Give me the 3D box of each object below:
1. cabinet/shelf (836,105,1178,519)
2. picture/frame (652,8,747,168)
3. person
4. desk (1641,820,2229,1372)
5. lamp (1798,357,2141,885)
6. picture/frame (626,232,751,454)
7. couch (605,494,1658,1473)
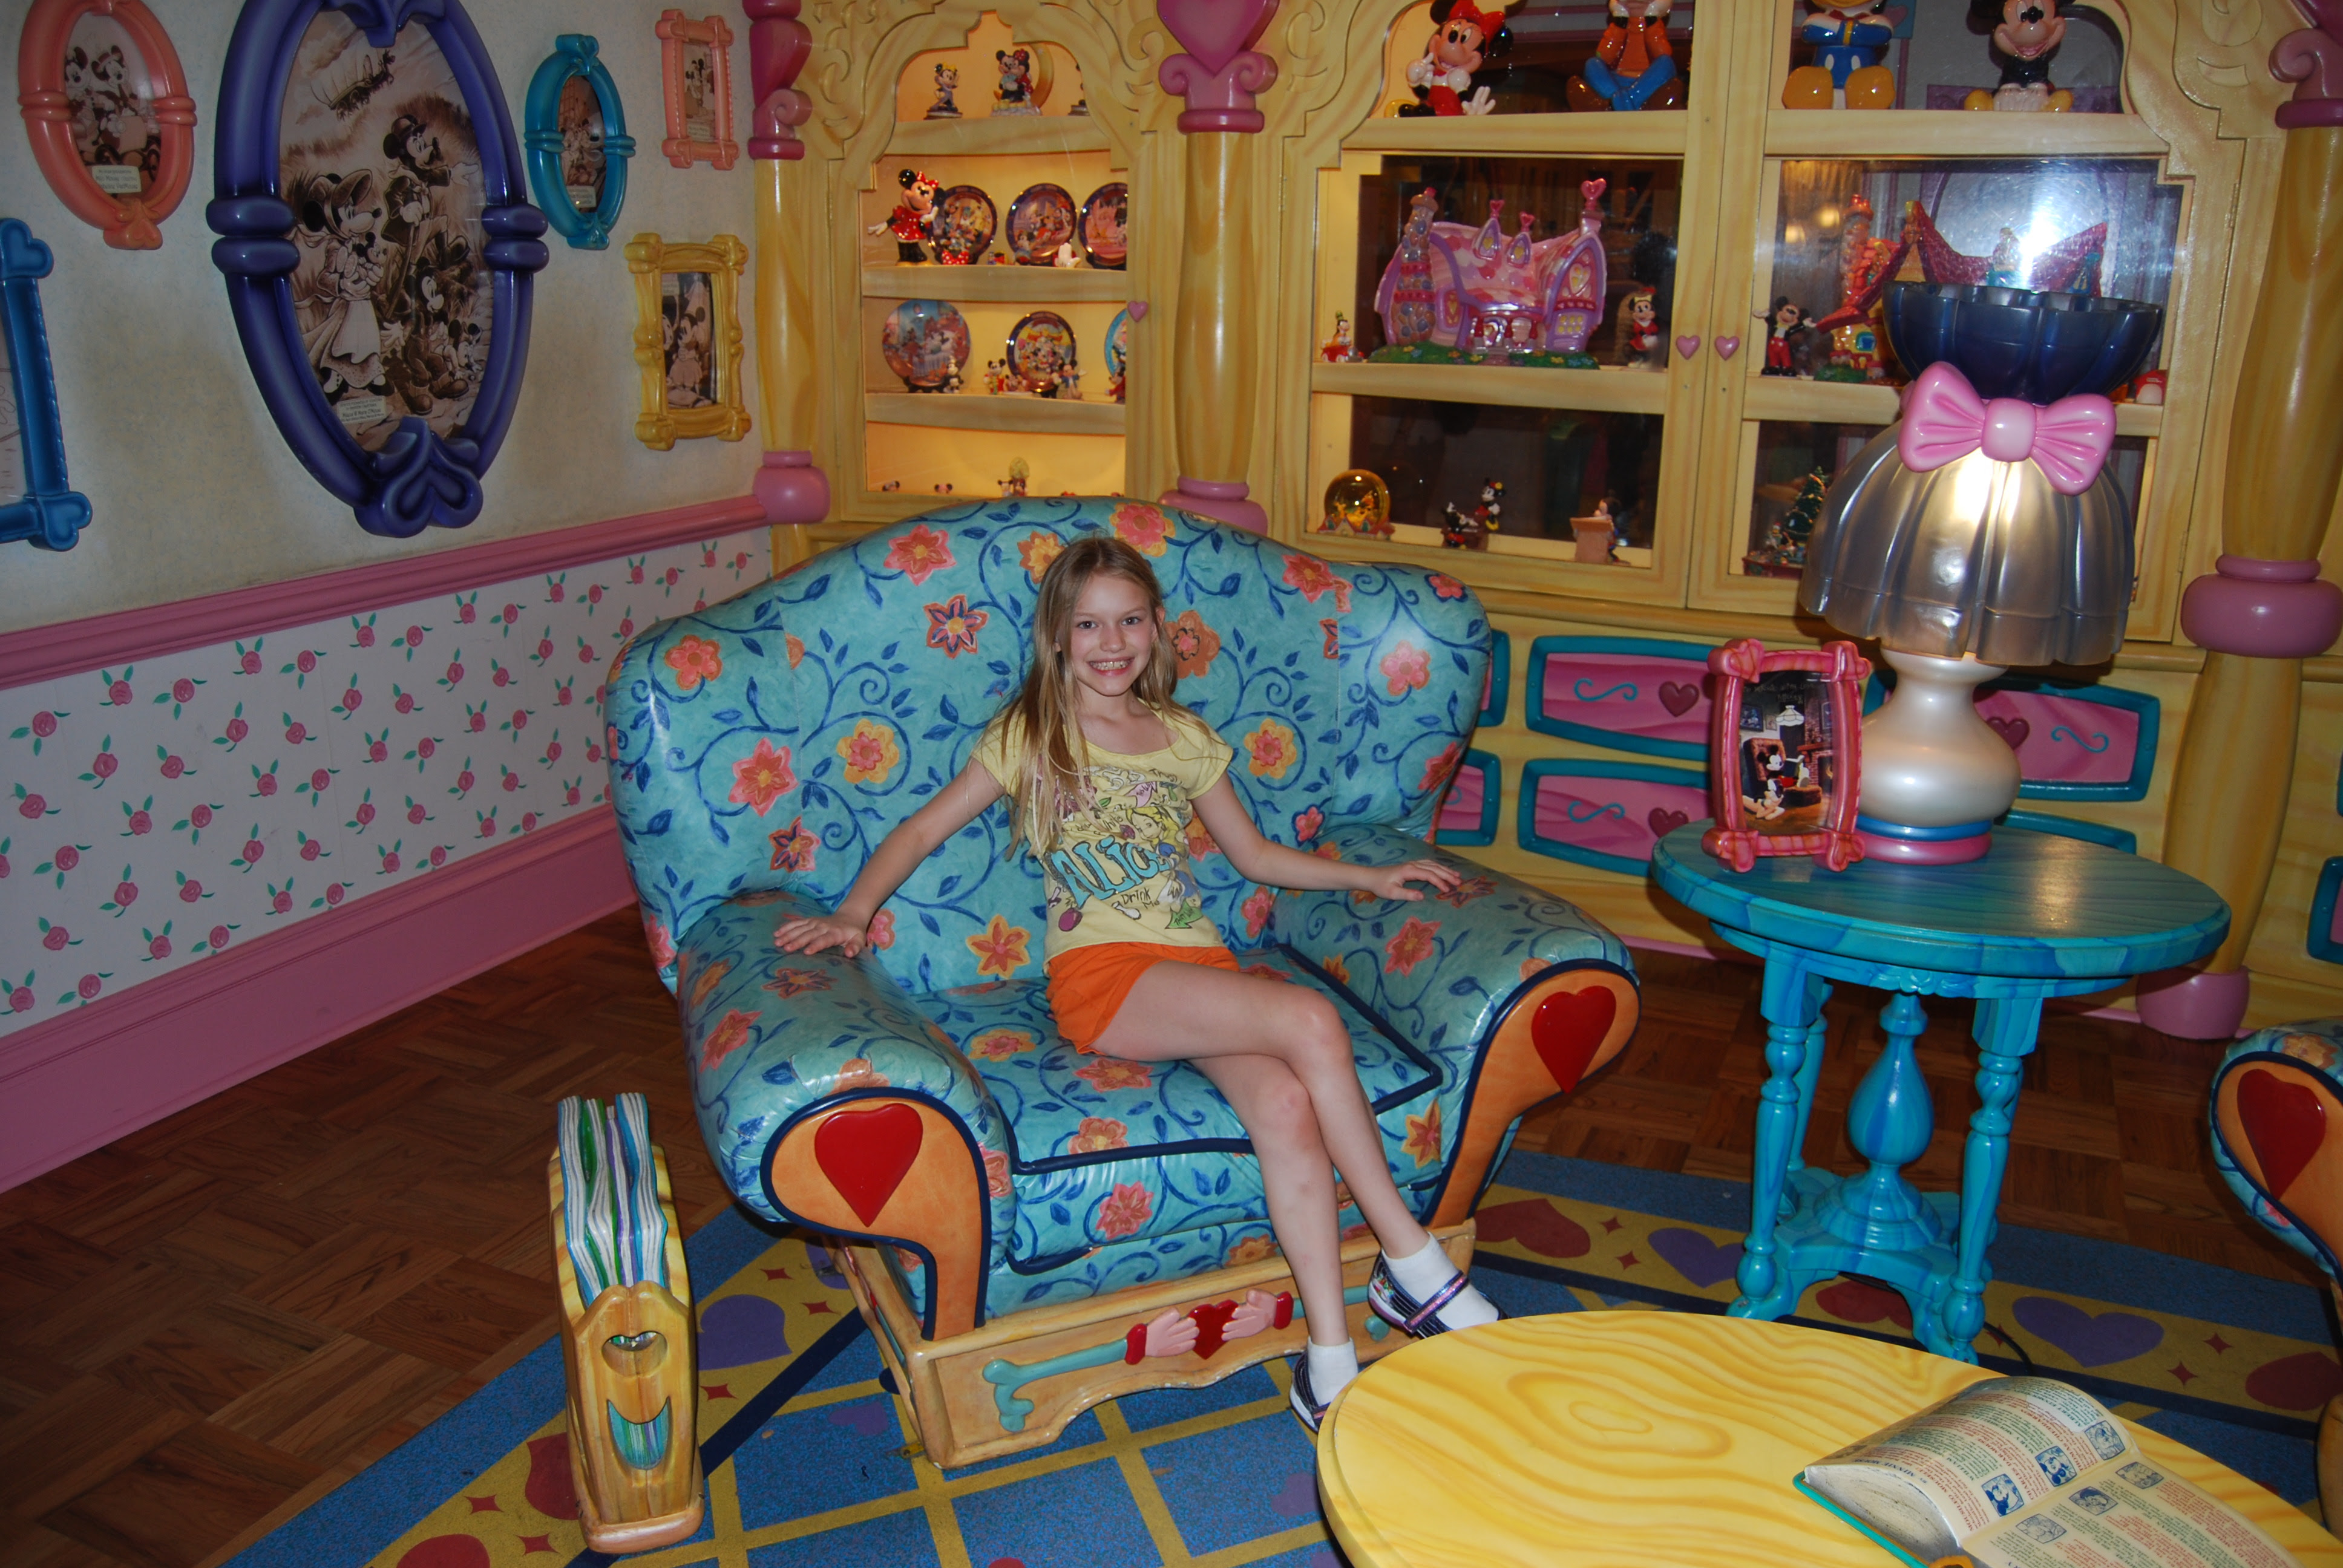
[{"bbox_3d":[-0.491,-1.468,5.037,1.113,1.291,0.326,2,-8,-16],"label":"cabinet/shelf"},{"bbox_3d":[-1.425,-2.071,4.771,0.091,0.521,0.426,10,22,26],"label":"picture/frame"},{"bbox_3d":[0.083,0.328,2.942,1.358,1.356,1.188,21,26,38],"label":"person"},{"bbox_3d":[1.425,0.614,3.160,0.925,0.803,0.895,3,7,-11],"label":"desk"},{"bbox_3d":[1.490,-0.314,3.110,0.586,0.906,0.555,4,9,-31],"label":"lamp"},{"bbox_3d":[-1.483,-1.342,4.850,0.116,0.734,0.626,6,14,29],"label":"picture/frame"},{"bbox_3d":[-0.093,0.406,2.992,1.647,1.279,0.919,-8,25,-20],"label":"couch"}]
